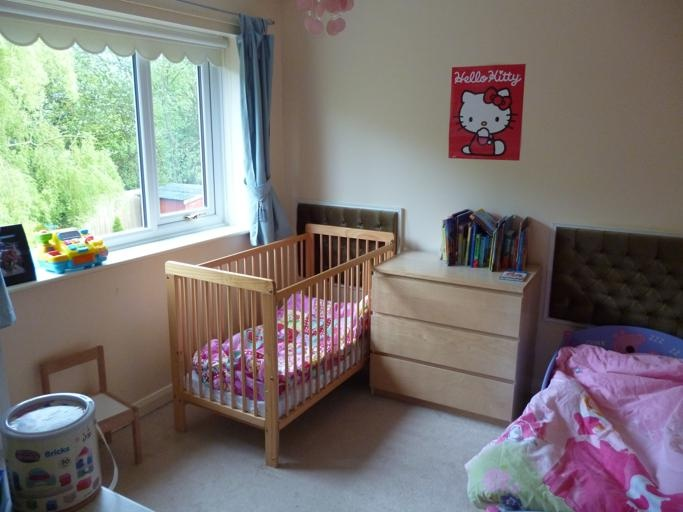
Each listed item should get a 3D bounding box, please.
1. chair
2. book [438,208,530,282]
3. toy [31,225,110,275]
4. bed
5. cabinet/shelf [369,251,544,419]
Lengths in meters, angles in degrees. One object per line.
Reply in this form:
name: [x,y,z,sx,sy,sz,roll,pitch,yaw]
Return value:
chair: [-1.341,0.834,2.834,0.401,0.592,0.425,-12,19,-40]
book: [0.872,-0.075,3.289,0.343,0.284,0.489,6,7,27]
toy: [-1.483,-0.036,2.892,0.293,0.149,0.220,16,21,41]
bed: [-0.320,0.459,3.597,0.900,1.090,1.565,6,14,31]
cabinet/shelf: [0.727,0.463,3.592,0.953,0.992,0.711,6,22,18]
